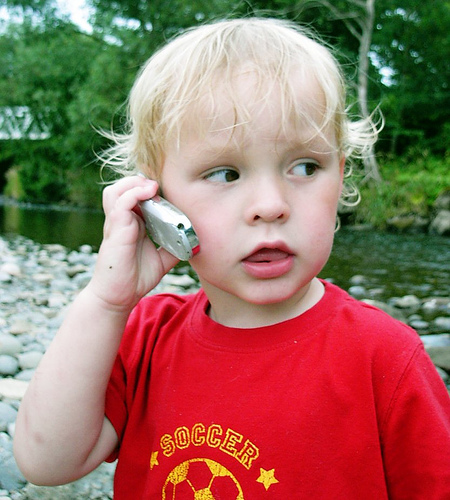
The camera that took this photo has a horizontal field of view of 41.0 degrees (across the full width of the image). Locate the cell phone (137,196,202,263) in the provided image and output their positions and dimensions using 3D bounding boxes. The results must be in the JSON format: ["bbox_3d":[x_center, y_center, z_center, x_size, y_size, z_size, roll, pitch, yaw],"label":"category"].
[{"bbox_3d":[-0.143,-0.053,1.522,0.170,0.153,0.051,28,60,35],"label":"cell phone"}]
